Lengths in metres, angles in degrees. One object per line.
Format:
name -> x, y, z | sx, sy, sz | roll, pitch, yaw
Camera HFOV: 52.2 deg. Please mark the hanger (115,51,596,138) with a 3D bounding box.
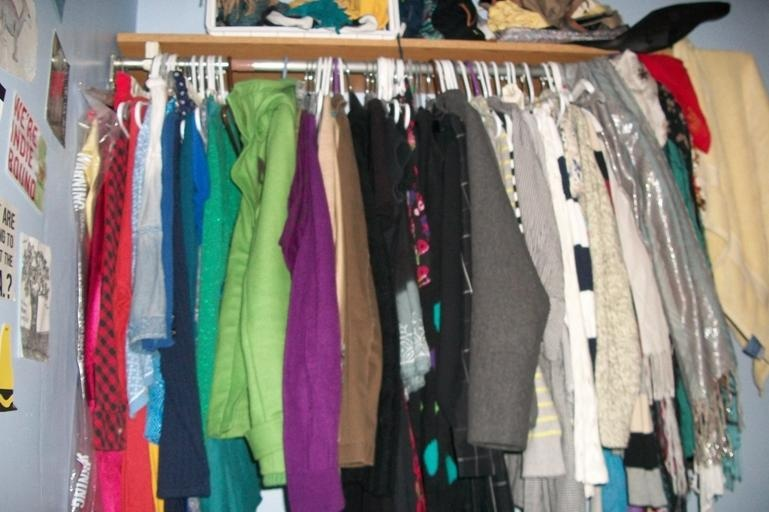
hanger -> -0.004, -0.443, 2.372 | 1.059, 0.050, 0.170 | 3, 66, -5
